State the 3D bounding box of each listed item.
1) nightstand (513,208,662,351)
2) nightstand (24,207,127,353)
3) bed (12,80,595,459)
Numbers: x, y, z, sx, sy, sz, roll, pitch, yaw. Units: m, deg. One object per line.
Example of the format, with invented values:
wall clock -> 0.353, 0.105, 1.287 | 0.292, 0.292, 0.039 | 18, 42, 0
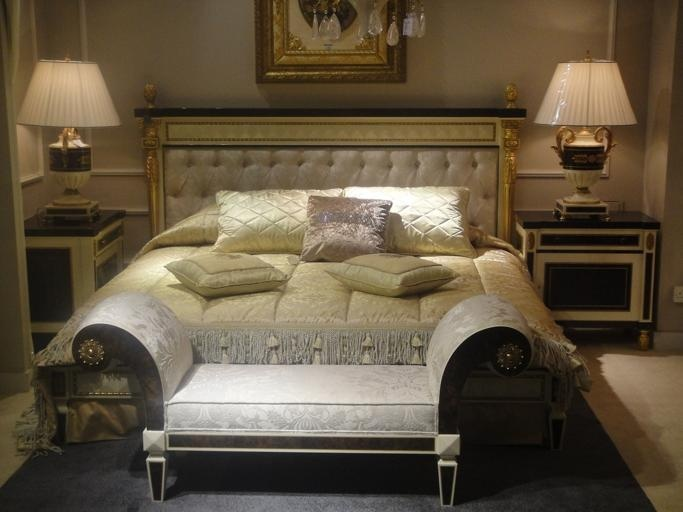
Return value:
nightstand -> 1.629, 0.030, 4.133 | 0.999, 1.077, 0.775 | 0, 14, 5
nightstand -> -1.560, 0.135, 3.321 | 0.419, 0.724, 0.739 | -1, 14, -3
bed -> -0.030, 0.148, 3.354 | 2.196, 1.453, 2.287 | 0, 13, 4
